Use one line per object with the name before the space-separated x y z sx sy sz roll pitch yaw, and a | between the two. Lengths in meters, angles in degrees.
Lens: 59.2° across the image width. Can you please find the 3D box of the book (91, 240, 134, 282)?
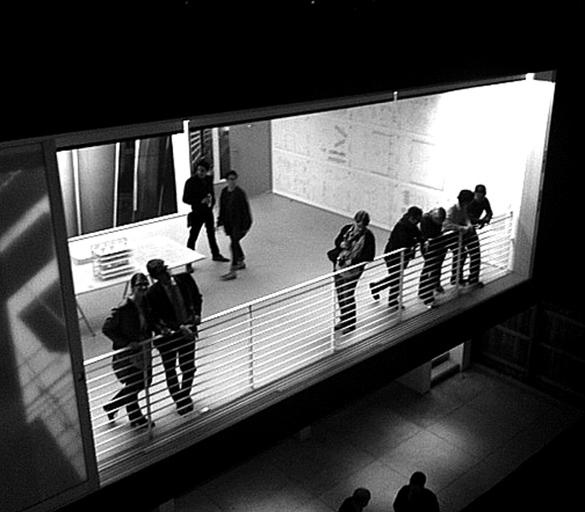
book | -2.293 0.102 6.659 0.510 0.200 0.525 -16 38 -25

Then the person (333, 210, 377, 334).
person | 0.739 0.275 6.117 0.490 1.490 1.229 1 22 6

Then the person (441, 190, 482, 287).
person | 2.260 -0.145 7.019 0.417 1.377 0.862 6 23 19

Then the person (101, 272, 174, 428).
person | -1.453 0.934 4.530 0.494 1.488 0.735 -8 22 -16

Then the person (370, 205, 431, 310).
person | 1.499 0.088 6.997 0.747 1.531 0.503 -14 45 -12
